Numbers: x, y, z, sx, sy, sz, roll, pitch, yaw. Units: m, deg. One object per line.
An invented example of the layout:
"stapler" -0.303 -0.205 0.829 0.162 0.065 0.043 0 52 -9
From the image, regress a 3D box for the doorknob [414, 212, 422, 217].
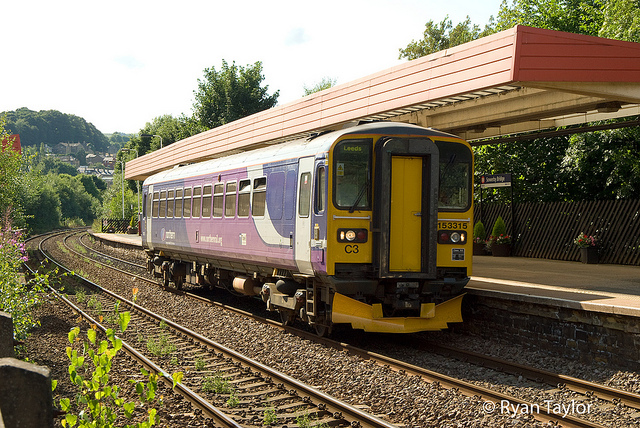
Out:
"doorknob" 1.971 0.010 9.810 0.184 0.058 0.081 1 -15 -14

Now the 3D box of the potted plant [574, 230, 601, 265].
"potted plant" 9.324 1.187 17.160 0.703 1.000 1.139 2 2 44

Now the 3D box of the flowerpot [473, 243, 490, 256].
"flowerpot" 6.764 1.484 20.586 0.563 0.423 0.552 3 -2 -39

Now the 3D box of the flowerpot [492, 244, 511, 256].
"flowerpot" 7.318 1.436 19.841 0.480 0.326 0.492 1 -2 -11

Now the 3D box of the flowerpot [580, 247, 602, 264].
"flowerpot" 9.467 1.419 17.156 0.524 0.547 0.656 0 -1 -3
